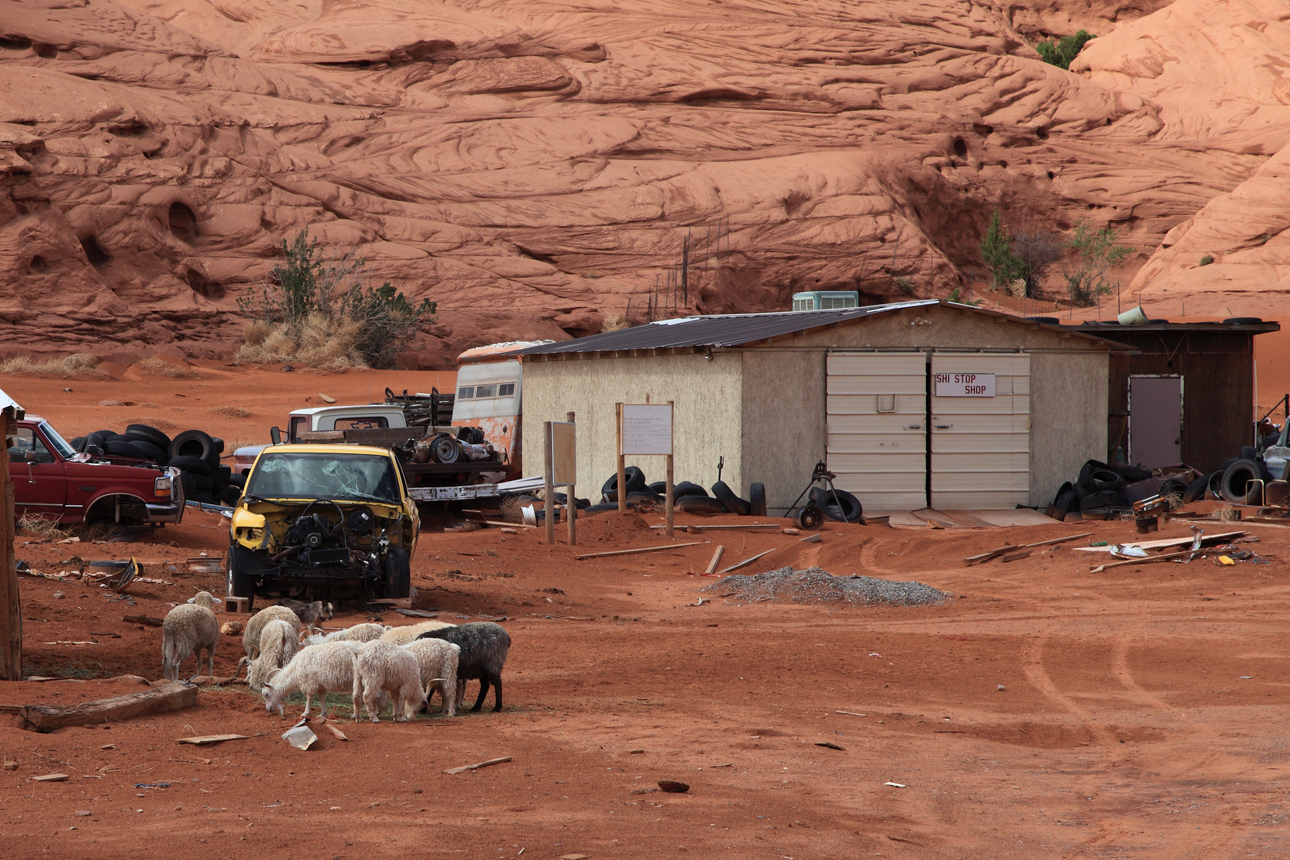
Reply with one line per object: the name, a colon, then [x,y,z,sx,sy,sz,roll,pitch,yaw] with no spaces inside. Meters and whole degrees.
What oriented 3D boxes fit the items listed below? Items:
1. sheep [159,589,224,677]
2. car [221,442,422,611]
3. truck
sheep: [-6.173,2.808,22.906,0.694,1.057,1.252,0,-2,-16]
car: [-4.943,1.443,26.004,2.772,2.379,1.339,0,-2,-9]
truck: [-5.480,0.549,35.169,4.813,1.406,2.582,1,0,0]
